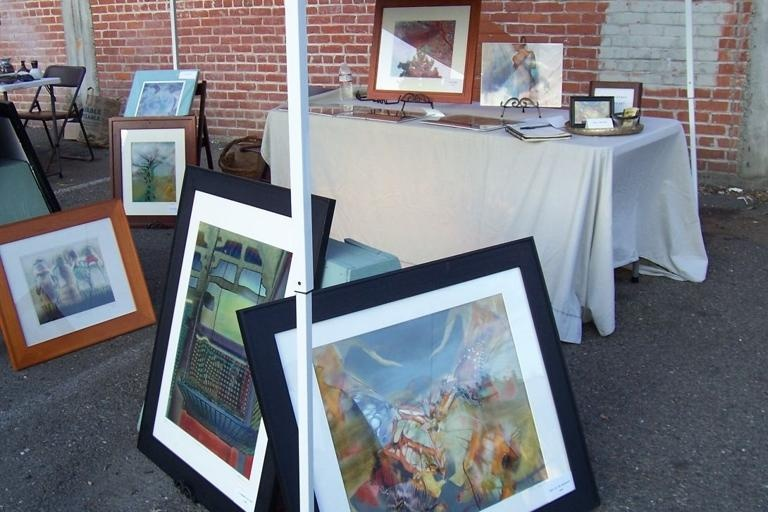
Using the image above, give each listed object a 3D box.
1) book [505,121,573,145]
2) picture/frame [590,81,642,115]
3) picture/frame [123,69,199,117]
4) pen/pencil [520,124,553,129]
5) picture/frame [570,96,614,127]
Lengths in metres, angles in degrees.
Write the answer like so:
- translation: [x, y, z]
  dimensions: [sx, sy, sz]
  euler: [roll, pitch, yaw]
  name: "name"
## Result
- translation: [0.813, -0.653, 2.942]
  dimensions: [0.325, 0.049, 0.353]
  euler: [5, 25, 6]
  name: "book"
- translation: [1.281, -0.854, 3.043]
  dimensions: [0.209, 0.167, 0.024]
  euler: [2, -3, 17]
  name: "picture/frame"
- translation: [-1.680, -1.221, 4.187]
  dimensions: [0.496, 0.300, 0.337]
  euler: [5, 25, 8]
  name: "picture/frame"
- translation: [0.822, -0.689, 2.977]
  dimensions: [0.150, 0.025, 0.028]
  euler: [-7, 32, -22]
  name: "pen/pencil"
- translation: [1.119, -0.759, 2.959]
  dimensions: [0.165, 0.132, 0.014]
  euler: [1, -16, 2]
  name: "picture/frame"
